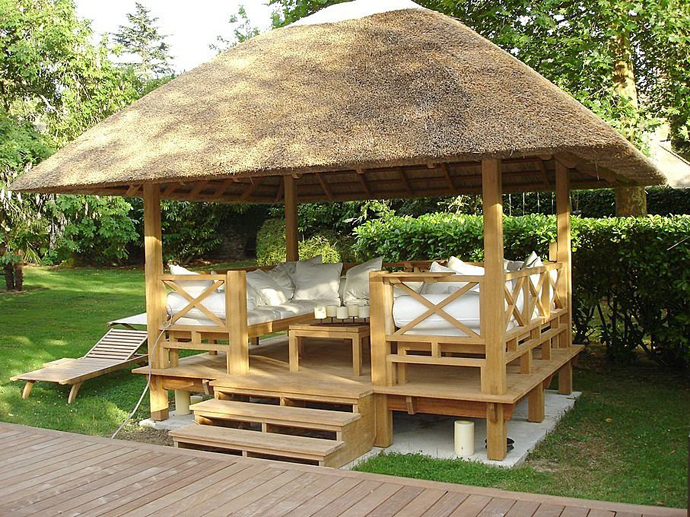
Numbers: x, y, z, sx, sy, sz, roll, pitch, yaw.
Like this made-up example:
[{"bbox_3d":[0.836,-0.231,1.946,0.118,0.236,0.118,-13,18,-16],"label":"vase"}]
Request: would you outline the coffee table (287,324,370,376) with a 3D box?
[{"bbox_3d":[-0.190,1.044,6.780,0.873,0.373,0.675,-1,1,8],"label":"coffee table"}]
